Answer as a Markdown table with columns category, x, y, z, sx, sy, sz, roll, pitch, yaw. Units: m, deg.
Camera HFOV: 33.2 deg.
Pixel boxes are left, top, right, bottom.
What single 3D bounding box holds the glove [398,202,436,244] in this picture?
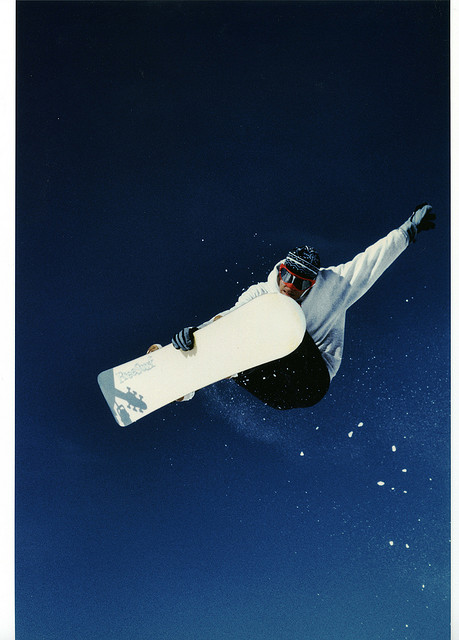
| category | x | y | z | sx | sy | sz | roll | pitch | yaw |
| --- | --- | --- | --- | --- | --- | --- | --- | --- | --- |
| glove | 0.574 | -0.300 | 2.341 | 0.124 | 0.034 | 0.090 | -44 | 100 | -6 |

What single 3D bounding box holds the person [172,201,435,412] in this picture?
| category | x | y | z | sx | sy | sz | roll | pitch | yaw |
| --- | --- | --- | --- | --- | --- | --- | --- | --- | --- |
| person | 0.292 | -0.005 | 2.466 | 0.845 | 0.349 | 0.457 | -51 | 51 | 6 |

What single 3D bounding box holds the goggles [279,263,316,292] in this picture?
| category | x | y | z | sx | sy | sz | roll | pitch | yaw |
| --- | --- | --- | --- | --- | --- | --- | --- | --- | --- |
| goggles | 0.199 | -0.123 | 2.333 | 0.113 | 0.039 | 0.052 | 21 | 77 | 9 |

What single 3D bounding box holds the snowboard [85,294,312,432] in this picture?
| category | x | y | z | sx | sy | sz | roll | pitch | yaw |
| --- | --- | --- | --- | --- | --- | --- | --- | --- | --- |
| snowboard | -0.108 | 0.114 | 2.377 | 0.842 | 0.140 | 0.295 | -22 | 95 | 24 |

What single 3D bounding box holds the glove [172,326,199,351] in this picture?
| category | x | y | z | sx | sy | sz | roll | pitch | yaw |
| --- | --- | --- | --- | --- | --- | --- | --- | --- | --- |
| glove | -0.126 | 0.060 | 2.273 | 0.067 | 0.021 | 0.066 | -56 | 36 | -4 |
